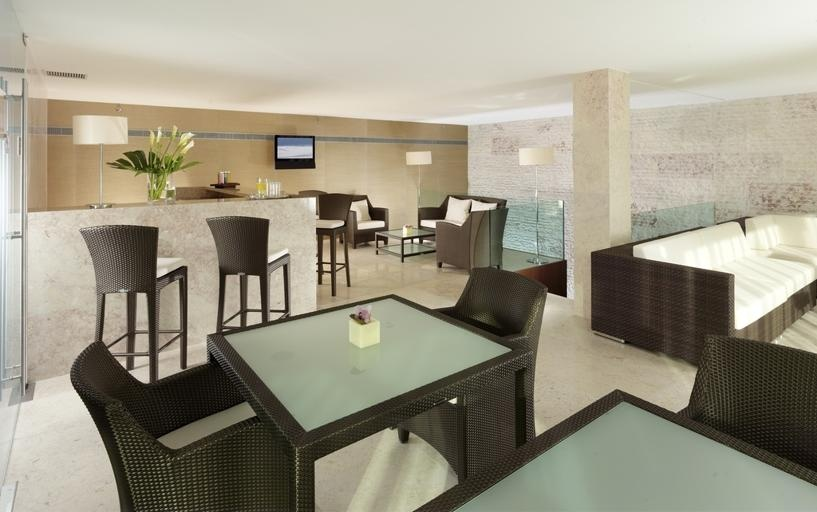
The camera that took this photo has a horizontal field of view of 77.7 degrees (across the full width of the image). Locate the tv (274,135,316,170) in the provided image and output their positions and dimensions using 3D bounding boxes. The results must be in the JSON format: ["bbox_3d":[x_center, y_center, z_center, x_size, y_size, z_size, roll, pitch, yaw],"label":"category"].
[{"bbox_3d":[-2.173,-2.016,9.754,0.902,0.588,0.102,5,10,21],"label":"tv"}]

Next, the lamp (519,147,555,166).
[{"bbox_3d":[2.051,-1.645,8.411,0.488,0.210,0.470,-3,6,-28],"label":"lamp"}]

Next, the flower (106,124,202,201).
[{"bbox_3d":[-2.617,-0.961,5.152,0.741,0.636,0.800,22,11,28],"label":"flower"}]

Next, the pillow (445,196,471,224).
[{"bbox_3d":[0.947,-0.880,9.699,0.239,0.524,0.682,37,-12,-30],"label":"pillow"}]

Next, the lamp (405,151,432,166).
[{"bbox_3d":[0.161,-1.939,10.052,0.493,0.215,0.482,5,9,32],"label":"lamp"}]

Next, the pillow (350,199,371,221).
[{"bbox_3d":[-0.979,-0.925,10.258,0.445,0.381,0.132,-1,-1,-44],"label":"pillow"}]

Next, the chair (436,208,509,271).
[{"bbox_3d":[1.053,-0.206,8.467,1.260,1.109,1.092,5,-6,16],"label":"chair"}]

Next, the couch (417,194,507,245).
[{"bbox_3d":[0.975,-0.677,9.717,0.892,0.812,1.820,-8,13,-32],"label":"couch"}]

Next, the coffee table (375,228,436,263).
[{"bbox_3d":[-0.048,-0.292,9.369,0.953,0.598,1.242,-5,13,-19],"label":"coffee table"}]

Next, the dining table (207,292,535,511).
[{"bbox_3d":[-0.241,0.687,2.991,1.449,0.846,1.446,-9,15,-35],"label":"dining table"}]
